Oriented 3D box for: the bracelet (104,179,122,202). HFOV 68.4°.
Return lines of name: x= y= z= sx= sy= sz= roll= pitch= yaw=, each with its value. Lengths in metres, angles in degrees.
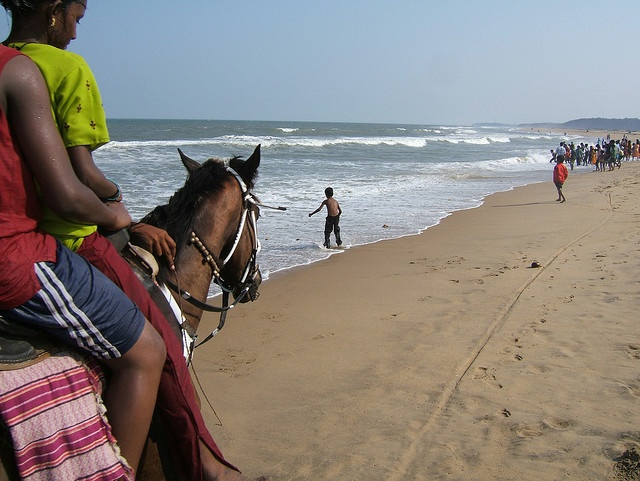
bracelet: x=-1.059 y=-0.248 z=2.369 sx=0.083 sy=0.096 sz=0.103 roll=-1 pitch=-2 yaw=-6
